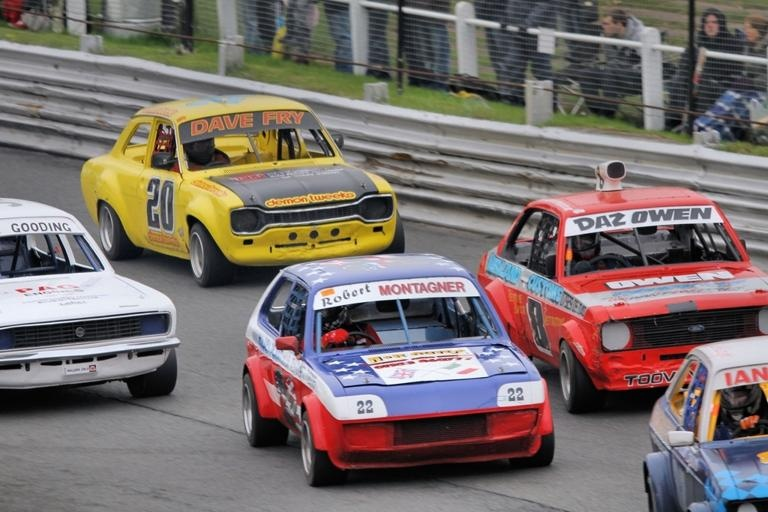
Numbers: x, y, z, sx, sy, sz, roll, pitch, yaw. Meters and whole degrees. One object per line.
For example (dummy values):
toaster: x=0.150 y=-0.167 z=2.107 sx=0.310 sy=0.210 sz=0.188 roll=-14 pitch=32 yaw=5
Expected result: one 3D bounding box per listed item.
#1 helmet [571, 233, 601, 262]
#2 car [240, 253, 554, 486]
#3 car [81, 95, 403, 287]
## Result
helmet: x=2.065 y=-0.096 z=12.418 sx=0.286 sy=0.295 sz=0.303 roll=-3 pitch=27 yaw=-5
car: x=0.031 y=1.022 z=10.522 sx=2.050 sy=1.661 sz=2.350 roll=-6 pitch=19 yaw=-25
car: x=-2.215 y=-1.027 z=16.407 sx=2.906 sy=1.452 sz=4.053 roll=-8 pitch=11 yaw=-35
